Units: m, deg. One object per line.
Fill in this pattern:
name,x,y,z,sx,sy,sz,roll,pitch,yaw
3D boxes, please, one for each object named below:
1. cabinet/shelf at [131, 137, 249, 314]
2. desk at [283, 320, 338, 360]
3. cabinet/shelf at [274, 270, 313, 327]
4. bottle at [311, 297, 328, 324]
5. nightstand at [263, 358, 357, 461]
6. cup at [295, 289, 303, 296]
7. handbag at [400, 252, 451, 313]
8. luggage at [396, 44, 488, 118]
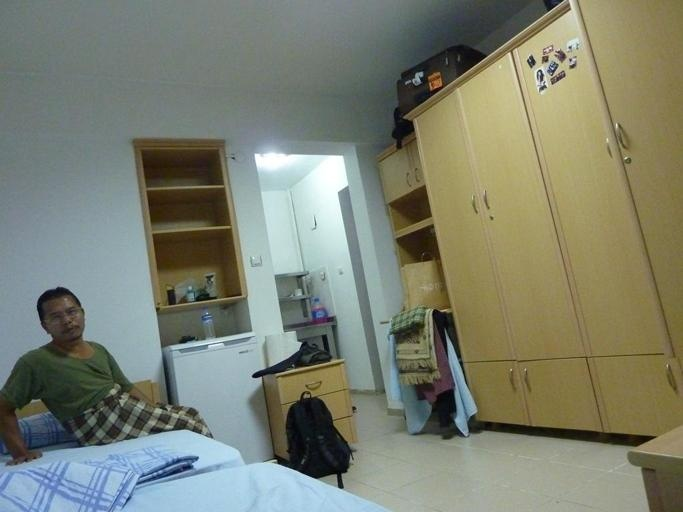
cabinet/shelf,-1.288,-0.196,4.243,0.698,1.346,0.392,-5,-10,-24
desk,-0.307,0.883,5.318,0.497,0.491,0.366,-14,-10,-23
cabinet/shelf,-0.614,0.558,6.418,0.643,0.615,0.212,-2,-16,-26
bottle,-0.333,0.696,6.482,0.242,0.415,0.246,-4,-8,-1
nightstand,-0.185,1.211,3.880,0.537,0.646,0.398,-9,-26,-8
cup,-0.575,0.492,6.706,0.067,0.083,0.071,1,5,0
handbag,0.734,0.254,4.412,0.411,0.577,0.201,-11,-20,-8
luggage,0.776,-1.453,4.188,0.680,0.340,0.483,-23,-5,43
